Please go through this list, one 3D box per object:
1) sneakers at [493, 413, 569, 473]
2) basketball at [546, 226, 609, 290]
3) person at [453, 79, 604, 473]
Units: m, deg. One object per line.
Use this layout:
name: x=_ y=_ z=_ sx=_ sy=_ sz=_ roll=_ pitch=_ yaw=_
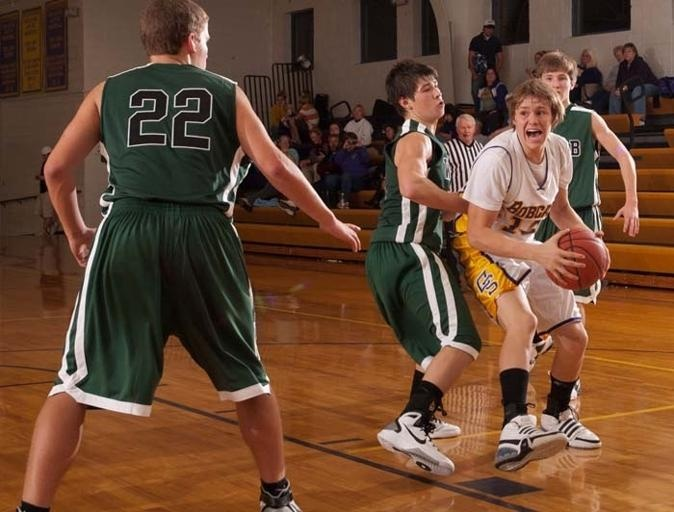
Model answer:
sneakers: x=0.691 y=0.705 z=2.170 sx=0.222 sy=0.233 sz=0.151 roll=2 pitch=6 yaw=31
basketball: x=0.930 y=0.005 z=2.325 sx=0.227 sy=0.241 sz=0.245 roll=-11 pitch=6 yaw=25
person: x=0.770 y=0.073 z=2.458 sx=0.568 sy=1.587 sz=0.821 roll=2 pitch=5 yaw=24
